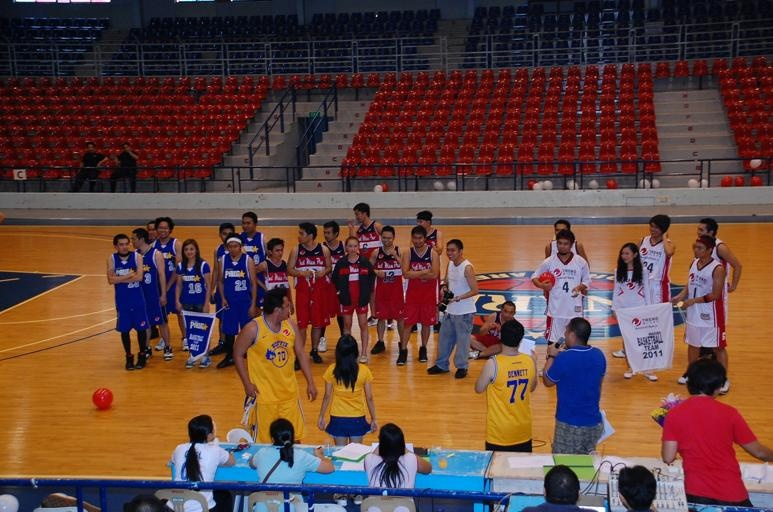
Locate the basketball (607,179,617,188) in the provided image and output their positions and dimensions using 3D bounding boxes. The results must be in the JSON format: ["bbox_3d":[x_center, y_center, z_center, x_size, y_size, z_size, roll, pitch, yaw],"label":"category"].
[{"bbox_3d":[6.837,-2.189,25.487,0.284,0.267,0.293,16,32,32],"label":"basketball"}]

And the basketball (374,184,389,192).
[{"bbox_3d":[-0.162,-2.107,26.348,0.237,0.170,0.350,-1,14,10],"label":"basketball"}]

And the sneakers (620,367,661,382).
[{"bbox_3d":[4.431,2.034,14.689,0.615,0.258,0.212,1,30,20],"label":"sneakers"}]

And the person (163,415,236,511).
[{"bbox_3d":[-2.583,2.938,11.645,0.731,1.822,1.148,6,23,6],"label":"person"}]

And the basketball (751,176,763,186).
[{"bbox_3d":[10.936,-2.181,24.853,0.376,0.294,0.386,0,15,12],"label":"basketball"}]

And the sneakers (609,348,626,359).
[{"bbox_3d":[4.229,1.787,15.388,0.284,0.126,0.100,0,24,-1],"label":"sneakers"}]

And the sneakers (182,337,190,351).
[{"bbox_3d":[-3.811,1.695,15.816,0.208,0.268,0.570,0,2,-14],"label":"sneakers"}]

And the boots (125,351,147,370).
[{"bbox_3d":[-4.593,1.962,15.493,0.198,0.254,0.575,0,-5,-9],"label":"boots"}]

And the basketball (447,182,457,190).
[{"bbox_3d":[2.065,-2.207,26.492,0.255,0.263,0.143,-9,-11,2],"label":"basketball"}]

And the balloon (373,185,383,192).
[{"bbox_3d":[-0.229,-2.095,26.276,0.271,0.303,0.508,-1,-2,-4],"label":"balloon"}]

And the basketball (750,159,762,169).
[{"bbox_3d":[10.932,-2.716,24.910,0.261,0.206,0.264,-2,5,-2],"label":"basketball"}]

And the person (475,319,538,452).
[{"bbox_3d":[1.738,1.889,12.067,0.835,1.919,0.548,-2,-1,5],"label":"person"}]

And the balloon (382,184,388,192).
[{"bbox_3d":[-0.035,-2.136,26.487,0.213,0.264,0.218,3,-6,-2],"label":"balloon"}]

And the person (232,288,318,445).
[{"bbox_3d":[-1.664,2.015,12.804,1.227,2.878,0.730,-4,17,-20],"label":"person"}]

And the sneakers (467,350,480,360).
[{"bbox_3d":[1.628,1.851,15.510,0.239,0.085,0.105,-5,10,10],"label":"sneakers"}]

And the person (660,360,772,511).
[{"bbox_3d":[4.259,2.338,11.026,1.245,1.934,0.367,-1,-1,-7],"label":"person"}]

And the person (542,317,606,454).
[{"bbox_3d":[2.708,1.872,12.004,0.823,1.937,0.407,-2,-1,13],"label":"person"}]

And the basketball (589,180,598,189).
[{"bbox_3d":[6.265,-2.157,25.358,0.261,0.271,0.268,1,17,14],"label":"basketball"}]

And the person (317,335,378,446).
[{"bbox_3d":[-0.570,2.354,12.656,0.921,2.323,0.676,1,7,-4],"label":"person"}]

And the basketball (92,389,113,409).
[{"bbox_3d":[-4.818,2.462,14.313,0.320,0.356,0.239,-1,-2,-21],"label":"basketball"}]
